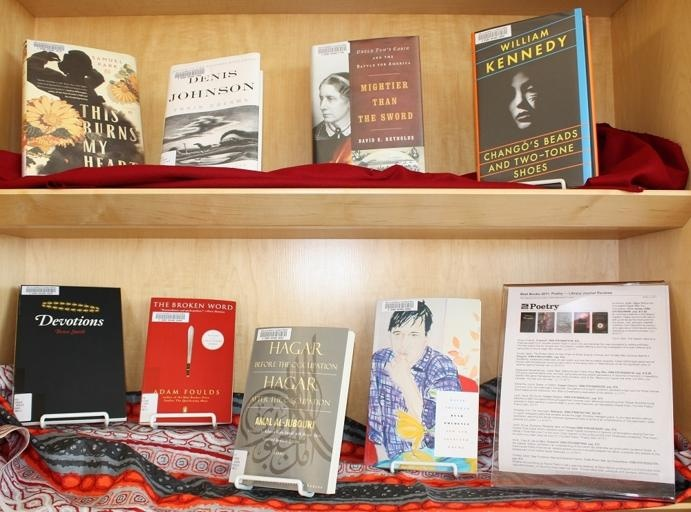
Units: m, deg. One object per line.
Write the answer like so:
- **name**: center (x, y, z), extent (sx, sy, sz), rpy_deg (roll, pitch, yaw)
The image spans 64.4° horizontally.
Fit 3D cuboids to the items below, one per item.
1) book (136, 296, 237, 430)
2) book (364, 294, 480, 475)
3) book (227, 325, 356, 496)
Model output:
- **book**: center (-0.485, 0.308, 1.642), extent (0.343, 0.387, 0.128), rpy_deg (2, -14, -6)
- **book**: center (0.229, 0.369, 1.622), extent (0.326, 0.485, 0.128), rpy_deg (0, -7, 11)
- **book**: center (-0.145, 0.413, 1.508), extent (0.299, 0.428, 0.129), rpy_deg (-1, -7, 15)
